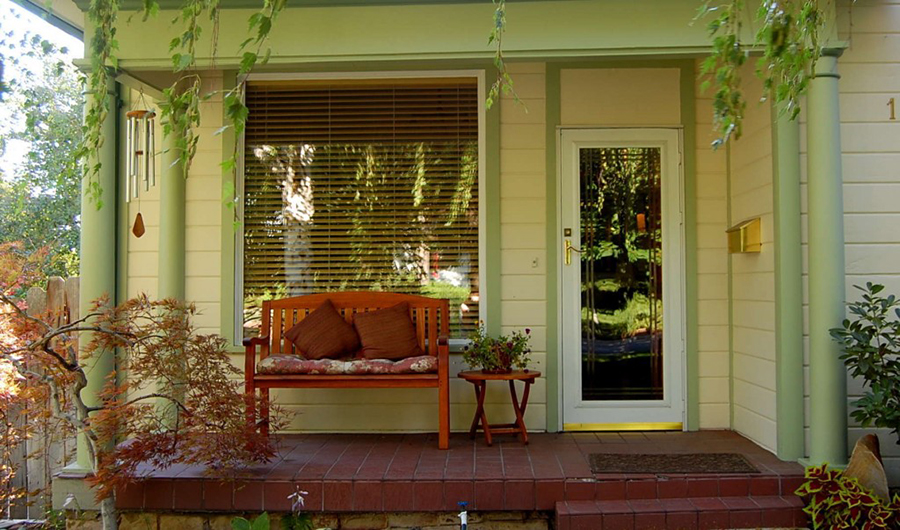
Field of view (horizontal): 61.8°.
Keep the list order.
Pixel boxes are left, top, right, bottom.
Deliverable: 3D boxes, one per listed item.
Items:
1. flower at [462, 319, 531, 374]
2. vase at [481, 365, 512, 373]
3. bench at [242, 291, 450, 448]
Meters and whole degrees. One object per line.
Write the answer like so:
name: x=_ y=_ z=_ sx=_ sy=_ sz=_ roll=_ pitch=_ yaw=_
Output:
flower: x=0.462 y=0.851 z=7.751 sx=0.545 sy=0.344 sz=0.515 roll=0 pitch=-6 yaw=-2
vase: x=0.470 y=1.039 z=7.516 sx=0.265 sy=0.072 sz=0.069 roll=1 pitch=15 yaw=-1
bench: x=-1.003 y=1.083 z=7.622 sx=1.586 sy=1.084 sz=0.641 roll=-1 pitch=-4 yaw=2
